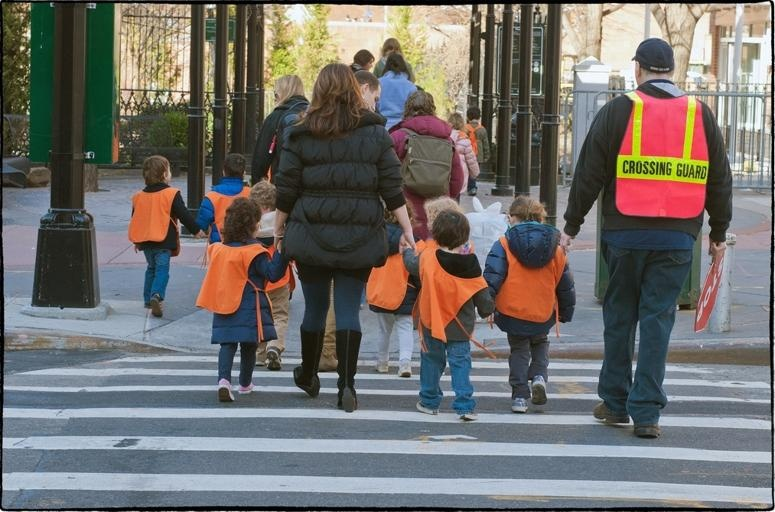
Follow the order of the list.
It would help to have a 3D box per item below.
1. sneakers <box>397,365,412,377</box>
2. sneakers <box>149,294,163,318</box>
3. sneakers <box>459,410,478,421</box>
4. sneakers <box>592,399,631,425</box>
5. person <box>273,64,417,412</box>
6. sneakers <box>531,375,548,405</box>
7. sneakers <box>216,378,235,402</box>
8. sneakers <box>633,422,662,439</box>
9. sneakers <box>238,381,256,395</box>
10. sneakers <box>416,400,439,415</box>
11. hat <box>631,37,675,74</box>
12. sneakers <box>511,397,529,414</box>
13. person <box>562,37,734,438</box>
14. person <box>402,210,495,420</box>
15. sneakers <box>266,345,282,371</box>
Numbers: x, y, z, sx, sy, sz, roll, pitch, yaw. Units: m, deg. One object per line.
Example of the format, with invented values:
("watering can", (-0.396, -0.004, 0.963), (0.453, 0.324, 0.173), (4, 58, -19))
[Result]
("sneakers", (0.176, 1.147, 12.164), (0.146, 0.137, 0.319), (1, 1, -1))
("sneakers", (-2.613, 0.571, 13.745), (0.132, 0.256, 0.128), (-4, 24, 11))
("sneakers", (0.723, 1.417, 10.803), (0.194, 0.080, 0.068), (10, -22, -32))
("sneakers", (1.969, 1.380, 10.777), (0.157, 0.187, 0.328), (-11, 19, -38))
("person", (-0.449, -0.180, 11.015), (0.901, 3.075, 0.867), (11, 18, 36))
("sneakers", (1.401, 1.234, 11.215), (0.127, 0.273, 0.118), (-4, 35, 8))
("sneakers", (-1.476, 1.222, 11.110), (0.112, 0.237, 0.109), (-3, 49, 3))
("sneakers", (2.235, 1.472, 10.389), (0.237, 0.130, 0.160), (1, 14, 3))
("sneakers", (-1.314, 1.238, 11.434), (0.072, 0.078, 0.188), (2, 4, 16))
("sneakers", (0.365, 1.371, 11.014), (0.085, 0.089, 0.226), (-2, 9, -38))
("hat", (2.315, -1.767, 10.581), (0.282, 0.196, 0.352), (0, 33, -1))
("sneakers", (1.218, 1.344, 11.092), (0.145, 0.137, 0.188), (2, 14, 6))
("person", (2.172, -0.211, 10.648), (1.193, 3.315, 1.143), (13, 18, 39))
("person", (0.523, 0.534, 11.032), (0.934, 1.825, 0.872), (3, 3, 9))
("sneakers", (-1.136, 1.018, 12.198), (0.116, 0.267, 0.130), (-3, 46, 1))
